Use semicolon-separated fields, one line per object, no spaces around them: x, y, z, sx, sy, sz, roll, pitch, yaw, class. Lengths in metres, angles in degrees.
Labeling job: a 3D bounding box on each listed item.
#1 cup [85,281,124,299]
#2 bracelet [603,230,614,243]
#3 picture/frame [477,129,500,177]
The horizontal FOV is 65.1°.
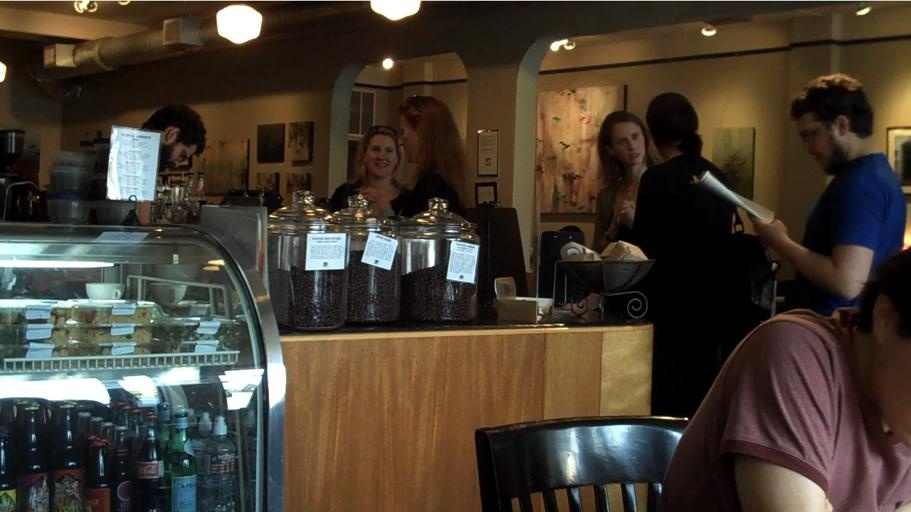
-1.234;0.122;2.500;0.082;0.033;0.066;12;6;20;cup
1.083;-0.140;5.058;0.069;0.057;0.102;0;-30;-22;bracelet
0.298;-1.005;6.939;0.282;0.442;0.044;-9;13;-42;picture/frame
